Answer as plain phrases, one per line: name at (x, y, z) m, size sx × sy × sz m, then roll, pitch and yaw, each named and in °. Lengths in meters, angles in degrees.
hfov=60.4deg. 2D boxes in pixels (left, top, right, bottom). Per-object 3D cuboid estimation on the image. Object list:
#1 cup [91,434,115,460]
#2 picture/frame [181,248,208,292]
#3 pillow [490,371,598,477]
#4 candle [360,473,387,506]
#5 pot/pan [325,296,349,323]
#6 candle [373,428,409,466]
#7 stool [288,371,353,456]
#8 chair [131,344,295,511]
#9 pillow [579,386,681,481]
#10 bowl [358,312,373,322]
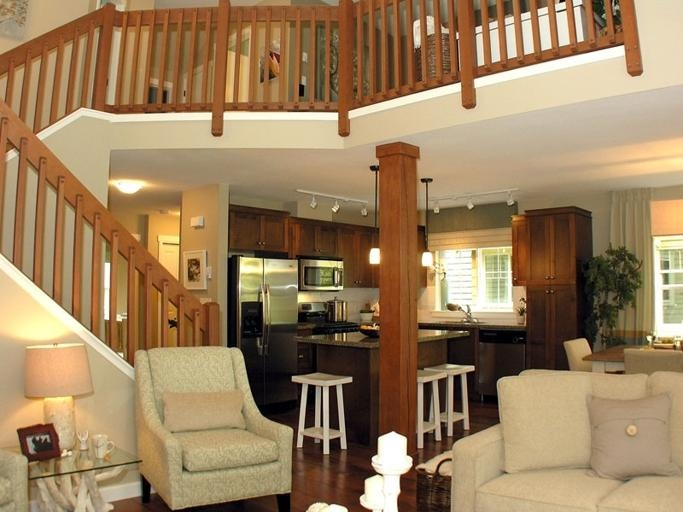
cup at (-1.689, 1.344, 4.151) m, size 0.142 × 0.149 × 0.257 m, roll 0°, pitch -7°, yaw -24°
picture/frame at (-1.878, 0.188, 7.551) m, size 0.052 × 0.535 × 0.510 m, roll 3°, pitch -5°, yaw -42°
pillow at (1.377, 1.136, 3.993) m, size 0.584 × 0.624 × 0.187 m, roll -3°, pitch -13°, yaw -8°
candle at (0.126, 0.932, 2.354) m, size 0.101 × 0.123 × 0.104 m, roll 3°, pitch 4°, yaw 35°
pot/pan at (-0.055, 0.839, 8.822) m, size 0.373 × 0.326 × 0.159 m, roll 3°, pitch -8°, yaw -40°
candle at (0.199, 0.764, 2.363) m, size 0.111 × 0.117 × 0.115 m, roll -2°, pitch -2°, yaw 26°
stool at (-0.188, 1.606, 6.113) m, size 0.602 × 0.750 × 0.722 m, roll 3°, pitch -8°, yaw -39°
chair at (-1.071, 1.325, 4.813) m, size 1.016 × 1.446 × 1.350 m, roll 1°, pitch -7°, yaw -25°
pillow at (1.810, 1.119, 3.706) m, size 0.488 × 0.537 × 0.167 m, roll -3°, pitch -17°, yaw 14°
bowl at (0.362, 0.966, 9.257) m, size 0.240 × 0.160 × 0.241 m, roll -2°, pitch -6°, yaw 0°
